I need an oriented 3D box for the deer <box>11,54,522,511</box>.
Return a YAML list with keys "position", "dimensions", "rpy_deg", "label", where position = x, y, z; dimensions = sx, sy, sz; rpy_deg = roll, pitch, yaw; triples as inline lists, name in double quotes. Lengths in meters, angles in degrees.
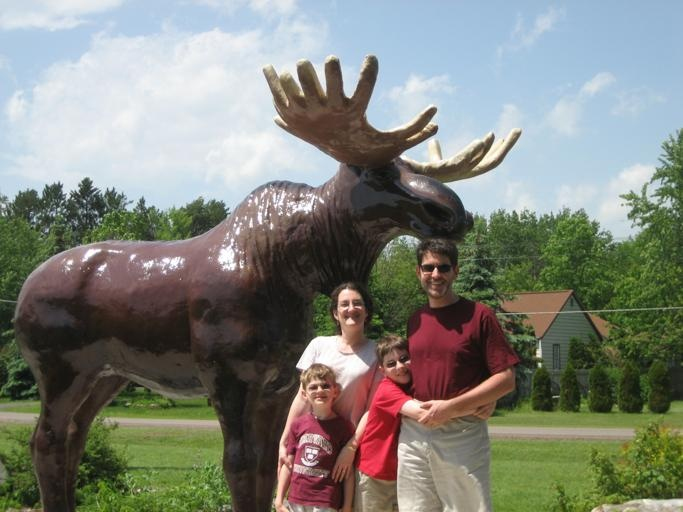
- position: [-0.407, 0.541, 10.242]
  dimensions: [5.394, 5.273, 3.351]
  rpy_deg: [-3, -6, 15]
  label: "deer"
